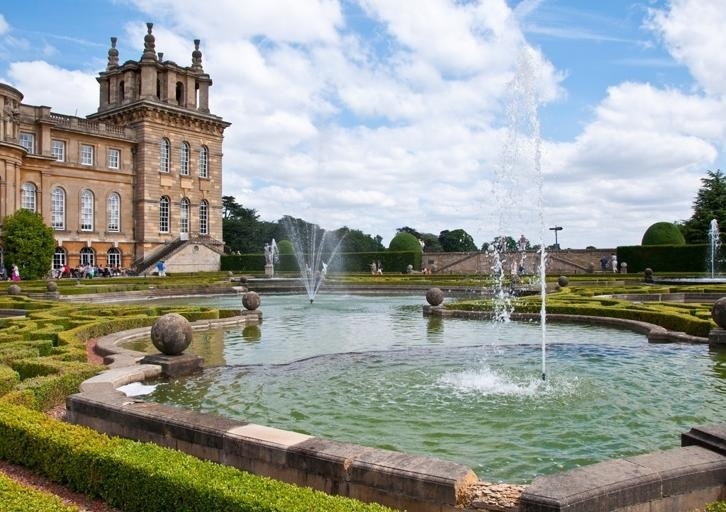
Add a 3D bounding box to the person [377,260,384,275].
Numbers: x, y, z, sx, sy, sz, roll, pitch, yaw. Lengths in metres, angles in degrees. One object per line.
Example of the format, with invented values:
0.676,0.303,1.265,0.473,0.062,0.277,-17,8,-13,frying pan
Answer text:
1.446,0.938,51.216,0.593,0.880,0.264,8,-3,-3,person
